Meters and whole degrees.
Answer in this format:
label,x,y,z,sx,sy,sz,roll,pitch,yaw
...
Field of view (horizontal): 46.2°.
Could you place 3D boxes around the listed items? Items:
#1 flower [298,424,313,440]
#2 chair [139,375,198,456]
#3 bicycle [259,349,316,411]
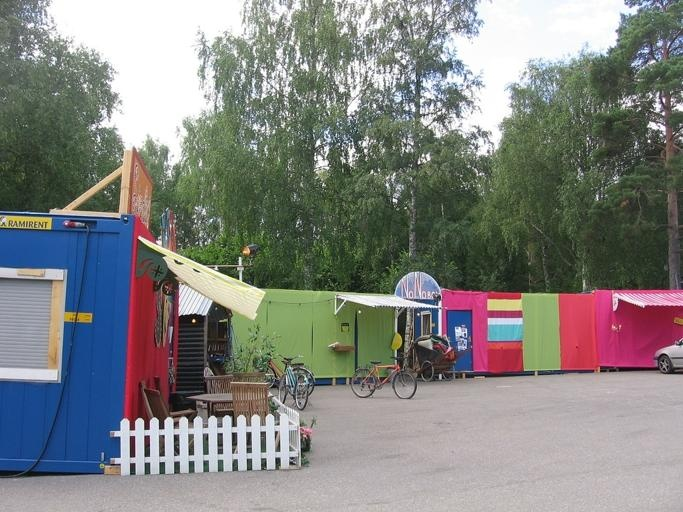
label,x,y,z,sx,sy,sz,roll,pitch,yaw
flower,-0.678,3.413,15.516,0.272,0.341,0.304,5,-9,-2
chair,-3.482,3.004,15.816,1.130,1.810,1.047,2,-9,-8
bicycle,-1.388,3.405,22.300,0.884,1.291,1.929,1,-1,-18
